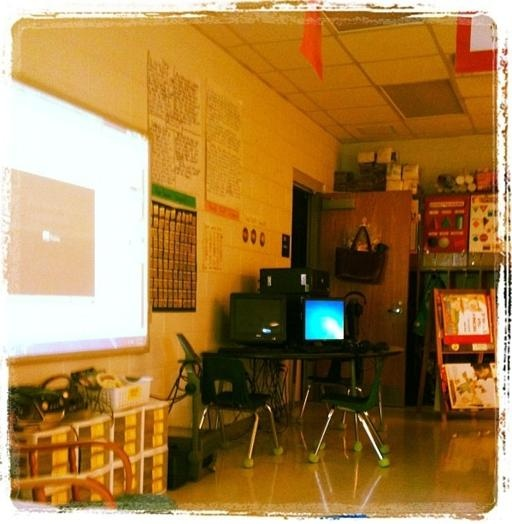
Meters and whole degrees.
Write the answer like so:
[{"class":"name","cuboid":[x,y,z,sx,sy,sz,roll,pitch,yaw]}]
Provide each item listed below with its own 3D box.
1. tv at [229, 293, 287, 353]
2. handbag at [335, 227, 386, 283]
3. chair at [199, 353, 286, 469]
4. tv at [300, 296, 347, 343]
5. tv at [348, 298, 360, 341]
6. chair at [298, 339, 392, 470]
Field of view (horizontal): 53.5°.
[{"class":"tv","cuboid":[0.028,0.414,4.373,0.560,0.589,0.350,0,-4,2]},{"class":"handbag","cuboid":[1.286,-0.138,6.252,0.602,0.348,0.844,9,-40,12]},{"class":"chair","cuboid":[-0.154,1.069,3.767,0.488,0.810,0.507,-2,-2,30]},{"class":"tv","cuboid":[0.639,0.551,4.740,0.123,0.405,0.556,-4,-6,43]},{"class":"tv","cuboid":[1.018,0.588,5.188,0.160,0.362,0.123,2,-9,-20]},{"class":"chair","cuboid":[0.863,1.127,4.329,0.834,1.294,0.812,-1,-7,15]}]
